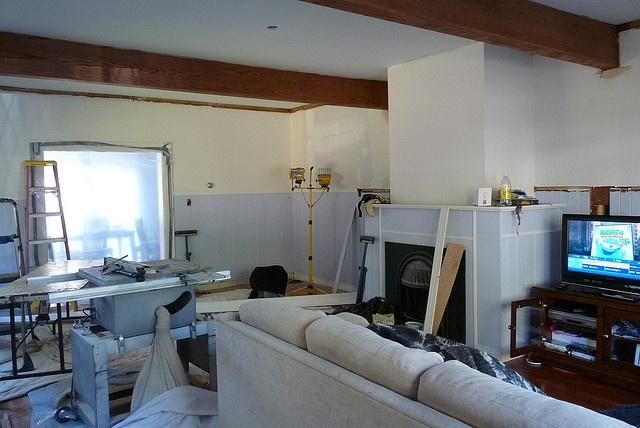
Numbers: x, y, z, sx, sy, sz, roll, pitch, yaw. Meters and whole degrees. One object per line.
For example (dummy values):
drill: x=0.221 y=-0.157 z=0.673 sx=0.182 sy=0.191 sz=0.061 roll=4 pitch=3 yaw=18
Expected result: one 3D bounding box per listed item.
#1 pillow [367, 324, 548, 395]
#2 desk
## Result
pillow: x=0.825 y=0.906 z=2.977 sx=0.710 sy=0.211 sz=0.724 roll=22 pitch=-8 yaw=-15
desk: x=-2.317 y=0.656 z=4.348 sx=1.657 sy=0.760 sz=1.692 roll=0 pitch=2 yaw=41
